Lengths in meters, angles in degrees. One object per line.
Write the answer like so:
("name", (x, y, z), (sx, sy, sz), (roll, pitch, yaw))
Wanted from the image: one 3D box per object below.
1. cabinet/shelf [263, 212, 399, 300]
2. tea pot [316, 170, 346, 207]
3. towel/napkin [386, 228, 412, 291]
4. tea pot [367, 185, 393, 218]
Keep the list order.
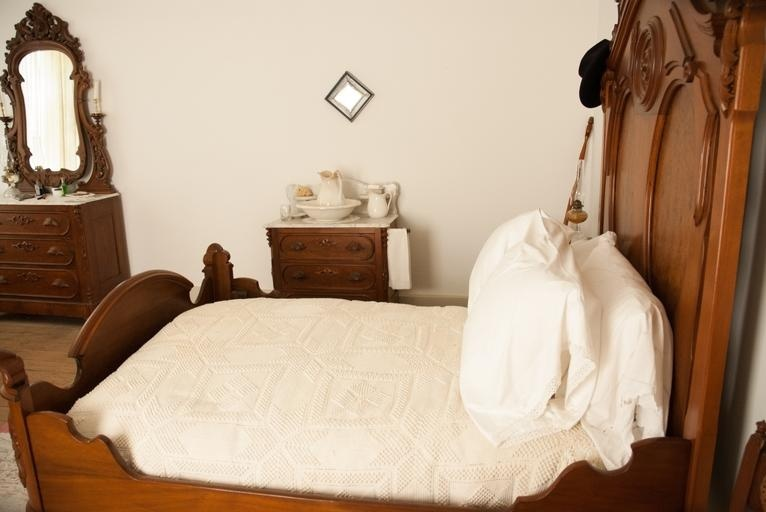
("cabinet/shelf", (-0.372, 0.055, 4.368), (0.847, 0.783, 0.509), (2, 21, 10))
("tea pot", (-0.370, -0.488, 4.207), (0.201, 0.267, 0.246), (-23, 24, -36))
("towel/napkin", (0.114, -0.014, 4.123), (0.208, 0.413, 0.047), (10, 18, 40))
("tea pot", (-0.038, -0.411, 4.262), (0.268, 0.269, 0.206), (0, 5, 6))
